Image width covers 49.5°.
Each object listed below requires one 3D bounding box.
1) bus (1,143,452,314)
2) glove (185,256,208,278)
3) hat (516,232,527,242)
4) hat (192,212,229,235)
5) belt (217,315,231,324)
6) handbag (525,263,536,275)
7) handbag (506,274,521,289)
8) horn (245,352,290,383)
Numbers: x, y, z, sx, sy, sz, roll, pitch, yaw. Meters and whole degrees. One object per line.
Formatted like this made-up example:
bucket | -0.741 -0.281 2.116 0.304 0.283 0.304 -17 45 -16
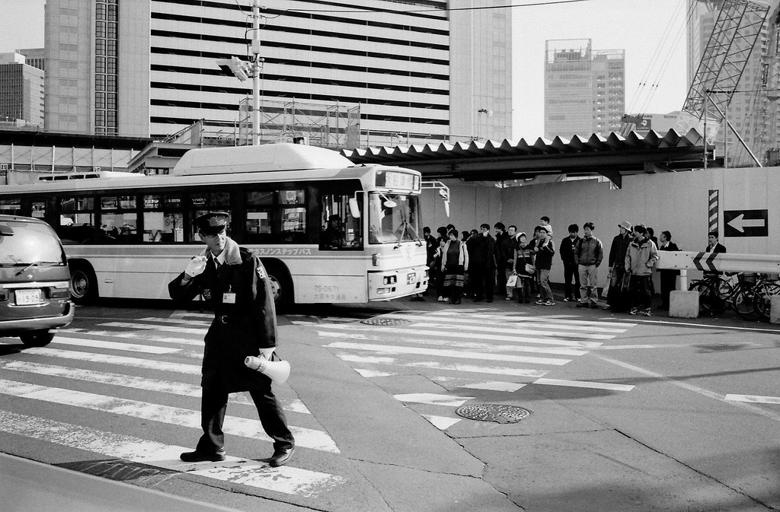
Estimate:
bus | -5.948 -0.946 25.078 15.563 5.418 4.693 -1 2 24
glove | -2.804 0.173 12.311 0.234 0.329 0.116 37 4 5
hat | 3.854 -0.589 24.688 0.199 0.295 0.256 8 -9 32
hat | -2.672 -0.501 12.667 0.471 0.362 0.662 -3 14 -14
belt | -2.415 0.932 12.397 0.123 0.032 0.130 19 35 26
handbag | 4.077 0.386 24.423 0.209 0.284 0.283 4 -1 -21
handbag | 3.718 0.807 24.940 0.350 0.485 0.470 6 4 4
horn | -1.766 1.596 12.394 0.371 0.420 0.548 -21 -33 34
